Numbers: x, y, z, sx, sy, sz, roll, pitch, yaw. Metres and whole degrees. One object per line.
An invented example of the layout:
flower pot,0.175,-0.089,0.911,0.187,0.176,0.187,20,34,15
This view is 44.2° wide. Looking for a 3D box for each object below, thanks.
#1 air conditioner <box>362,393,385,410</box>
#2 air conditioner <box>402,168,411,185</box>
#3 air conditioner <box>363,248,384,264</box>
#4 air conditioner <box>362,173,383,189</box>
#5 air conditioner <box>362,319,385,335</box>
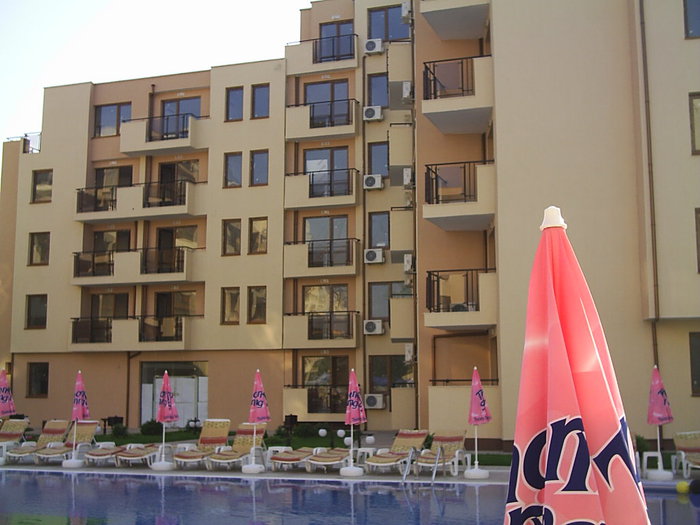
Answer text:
air conditioner,0.951,5.481,33.917,0.884,0.749,0.550,-2,-15,9
air conditioner,2.099,-3.199,31.624,0.288,0.671,0.434,-3,3,-30
air conditioner,0.962,-0.306,34.814,0.807,0.595,0.523,-2,3,-1
air conditioner,0.895,-3.332,35.173,0.848,0.602,0.545,-1,3,18
air conditioner,0.899,2.575,34.473,0.914,0.723,0.527,-5,-12,24
